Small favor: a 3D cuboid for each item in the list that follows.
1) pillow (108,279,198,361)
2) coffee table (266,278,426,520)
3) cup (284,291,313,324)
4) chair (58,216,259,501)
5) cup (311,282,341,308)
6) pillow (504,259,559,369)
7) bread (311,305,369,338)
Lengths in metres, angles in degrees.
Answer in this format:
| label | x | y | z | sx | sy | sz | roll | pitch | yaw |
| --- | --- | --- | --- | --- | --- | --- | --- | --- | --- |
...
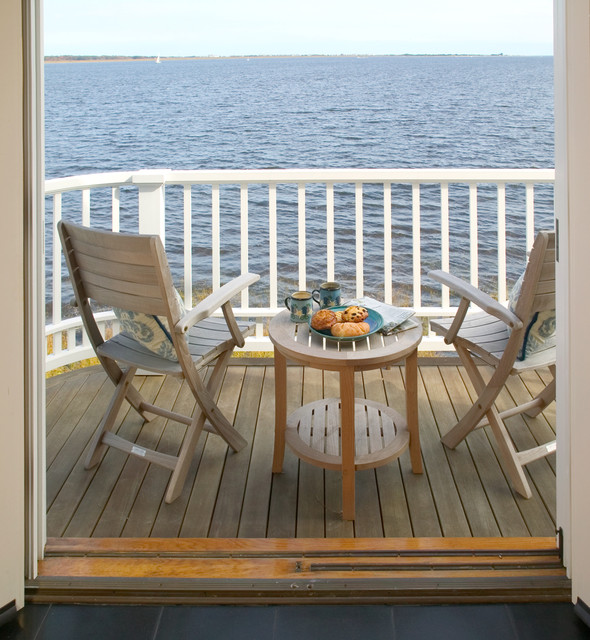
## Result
| label | x | y | z | sx | sy | sz | roll | pitch | yaw |
| --- | --- | --- | --- | --- | --- | --- | --- | --- | --- |
| pillow | -0.531 | 0.023 | 2.096 | 0.389 | 0.231 | 0.117 | 12 | 37 | 41 |
| coffee table | 0.191 | 0.330 | 2.192 | 0.534 | 0.553 | 0.536 | -11 | 17 | -28 |
| cup | 0.019 | -0.048 | 2.178 | 0.128 | 0.108 | 0.087 | 0 | 13 | 4 |
| chair | -0.534 | 0.094 | 2.219 | 0.603 | 0.964 | 0.598 | 12 | 25 | 33 |
| cup | 0.131 | -0.094 | 2.275 | 0.130 | 0.103 | 0.078 | 1 | 13 | 8 |
| pillow | 0.893 | -0.007 | 2.047 | 0.167 | 0.338 | 0.089 | -11 | 23 | -20 |
| bread | 0.168 | 0.006 | 1.984 | 0.154 | 0.057 | 0.109 | -1 | 22 | -10 |
